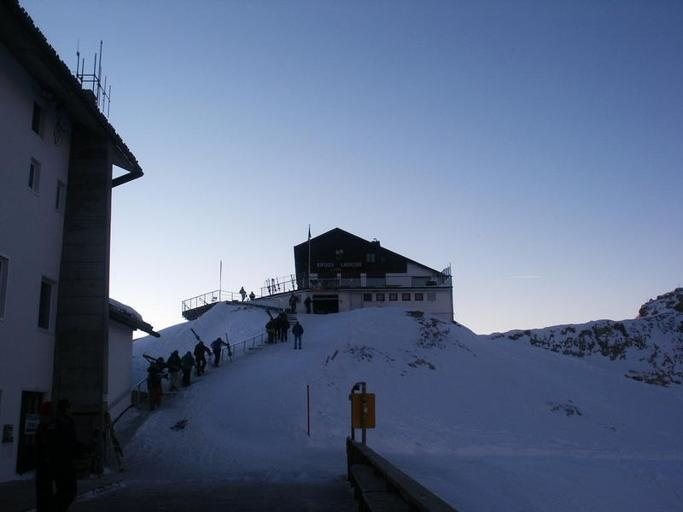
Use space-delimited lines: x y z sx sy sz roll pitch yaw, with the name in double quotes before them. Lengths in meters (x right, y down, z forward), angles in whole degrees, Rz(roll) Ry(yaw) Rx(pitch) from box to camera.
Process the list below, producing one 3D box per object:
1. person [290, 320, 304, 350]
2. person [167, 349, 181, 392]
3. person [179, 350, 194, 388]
"person" -2.705 4.864 31.753 0.571 1.702 1.830 5 -1 -3
"person" -8.141 5.491 25.062 0.655 1.948 1.323 5 -1 -18
"person" -7.642 5.552 25.509 0.589 1.746 1.481 5 -1 -16
